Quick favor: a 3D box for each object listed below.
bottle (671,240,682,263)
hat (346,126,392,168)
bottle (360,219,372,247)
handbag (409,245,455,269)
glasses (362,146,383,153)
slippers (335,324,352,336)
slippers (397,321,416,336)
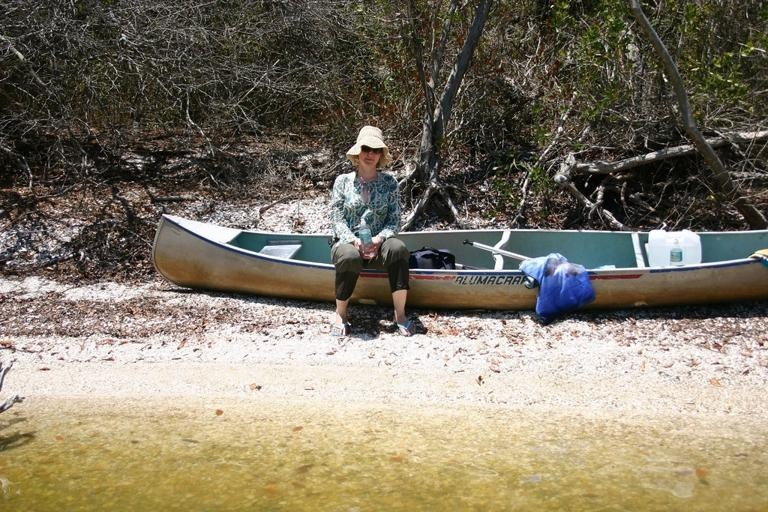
[{"bbox_3d":[3.403,-0.044,7.349,0.133,0.260,0.086,1,19,19],"label":"bottle"},{"bbox_3d":[-0.145,-1.270,7.164,0.597,0.267,0.581,4,-18,-2],"label":"hat"},{"bbox_3d":[-0.197,-0.217,6.785,0.120,0.215,0.183,-6,16,-3],"label":"bottle"},{"bbox_3d":[0.558,0.039,7.341,0.513,0.230,0.283,-3,15,1],"label":"handbag"},{"bbox_3d":[-0.099,-1.157,6.882,0.269,0.076,0.104,-10,15,-27],"label":"glasses"},{"bbox_3d":[-0.452,0.786,6.851,0.169,0.109,0.187,-4,14,0],"label":"slippers"},{"bbox_3d":[0.249,0.762,6.869,0.194,0.137,0.258,-4,14,1],"label":"slippers"}]
